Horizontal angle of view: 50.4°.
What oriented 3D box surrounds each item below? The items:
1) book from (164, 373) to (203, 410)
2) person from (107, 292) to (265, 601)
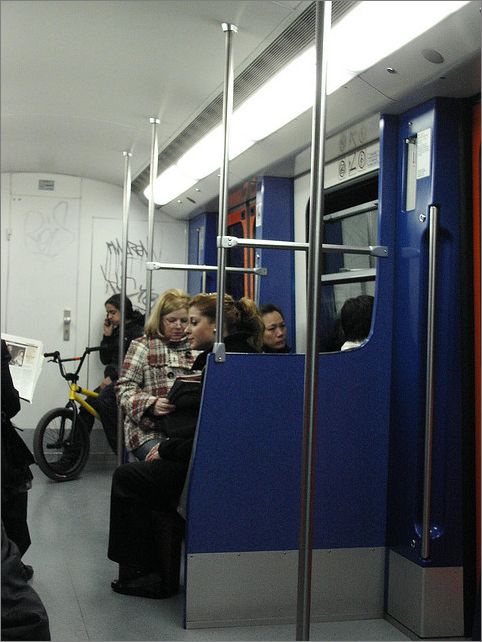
[{"bbox_3d":[-0.304,0.368,2.644,0.177,0.078,0.212,-2,-44,-15],"label":"book"},{"bbox_3d":[-0.313,0.604,2.623,0.808,1.537,0.635,-3,-4,1],"label":"person"}]
